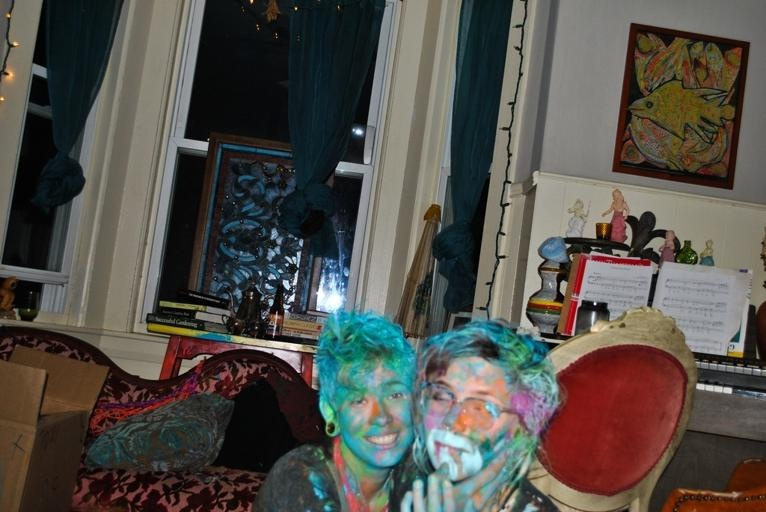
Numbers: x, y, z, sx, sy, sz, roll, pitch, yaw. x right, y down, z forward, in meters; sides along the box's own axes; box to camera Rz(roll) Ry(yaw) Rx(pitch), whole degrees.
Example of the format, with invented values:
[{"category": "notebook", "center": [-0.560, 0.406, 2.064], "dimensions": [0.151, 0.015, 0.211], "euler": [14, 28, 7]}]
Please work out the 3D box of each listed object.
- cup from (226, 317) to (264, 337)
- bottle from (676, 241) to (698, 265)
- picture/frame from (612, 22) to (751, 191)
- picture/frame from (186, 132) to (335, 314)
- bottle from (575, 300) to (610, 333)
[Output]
[{"category": "cup", "center": [-0.849, 0.442, 3.586], "dimensions": [0.143, 0.096, 0.131], "euler": [0, -6, 0]}, {"category": "bottle", "center": [1.694, -0.005, 3.258], "dimensions": [0.143, 0.156, 0.152], "euler": [1, -3, 22]}, {"category": "picture/frame", "center": [1.724, -0.885, 3.427], "dimensions": [0.739, 0.969, 0.034], "euler": [12, -4, -8]}, {"category": "picture/frame", "center": [-0.863, -0.186, 4.093], "dimensions": [0.962, 1.621, 0.072], "euler": [8, -7, -16]}, {"category": "bottle", "center": [0.932, 0.269, 2.583], "dimensions": [0.145, 0.178, 0.151], "euler": [0, -4, 20]}]
